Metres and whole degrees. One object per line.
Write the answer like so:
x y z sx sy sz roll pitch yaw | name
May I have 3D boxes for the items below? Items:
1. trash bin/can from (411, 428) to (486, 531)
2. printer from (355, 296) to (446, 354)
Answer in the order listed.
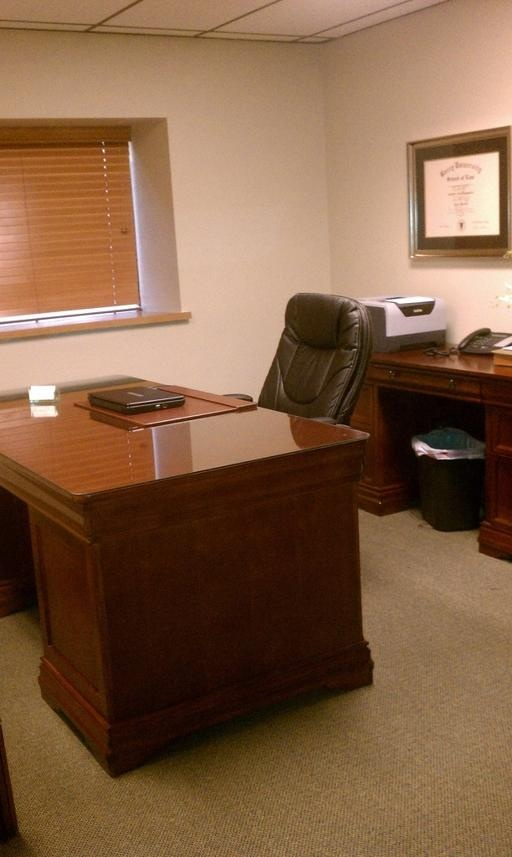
0.949 0.241 3.010 0.326 0.421 0.398 1 10 13 | trash bin/can
0.797 -0.559 3.260 0.378 0.252 0.292 -10 14 -23 | printer
